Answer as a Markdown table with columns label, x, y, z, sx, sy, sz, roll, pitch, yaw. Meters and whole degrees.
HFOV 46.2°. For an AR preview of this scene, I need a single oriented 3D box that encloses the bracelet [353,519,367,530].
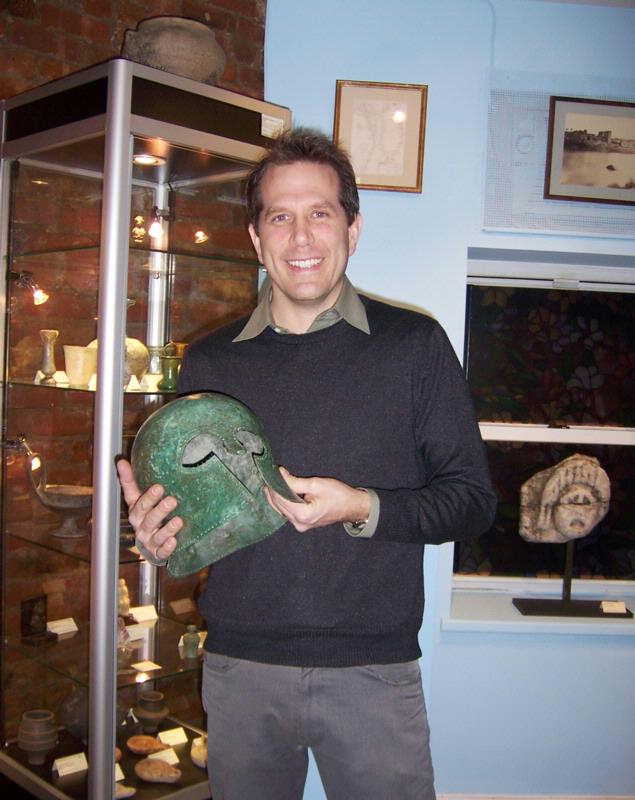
| label | x | y | z | sx | sy | sz | roll | pitch | yaw |
| --- | --- | --- | --- | --- | --- | --- | --- | --- | --- |
| bracelet | 0.071 | 0.209 | 1.249 | 0.021 | 0.016 | 0.016 | 16 | 12 | 41 |
